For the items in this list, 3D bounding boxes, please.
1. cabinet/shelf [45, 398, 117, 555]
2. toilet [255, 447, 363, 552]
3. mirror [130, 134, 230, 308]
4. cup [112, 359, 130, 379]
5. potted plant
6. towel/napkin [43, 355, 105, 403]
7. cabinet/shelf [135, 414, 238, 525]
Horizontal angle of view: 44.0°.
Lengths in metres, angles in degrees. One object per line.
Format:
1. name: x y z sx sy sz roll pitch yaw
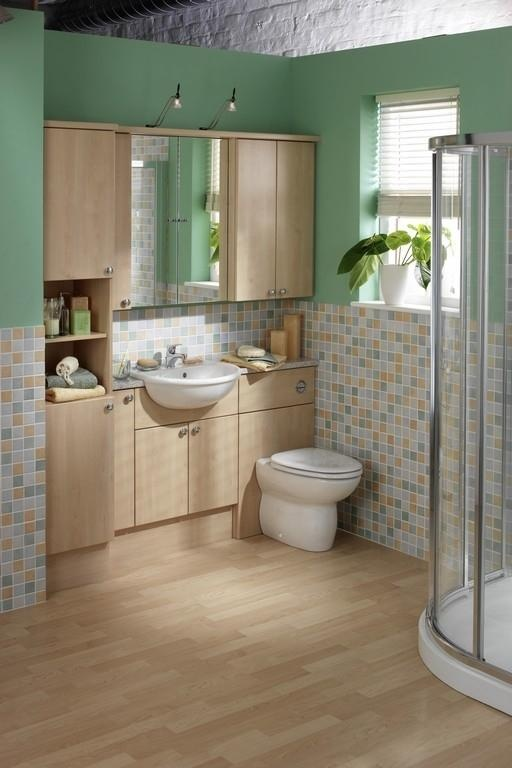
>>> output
1. cabinet/shelf: -0.771 0.391 2.755 0.275 0.656 0.150 -1 1 -26
2. toilet: 0.331 0.602 3.455 0.414 0.513 0.562 -5 9 -38
3. mirror: -0.392 -0.818 3.181 0.141 0.867 0.592 0 1 45
4. cup: -0.667 -0.072 3.105 0.075 0.099 0.097 -2 6 -40
5. potted plant: 0.686 -0.631 3.241 0.424 0.325 0.435 -3 3 -16
6. towel/napkin: -0.800 -0.022 2.788 0.254 0.193 0.175 -1 1 -34
7. cabinet/shelf: -0.366 0.384 3.302 0.540 0.489 0.212 -3 18 -15
